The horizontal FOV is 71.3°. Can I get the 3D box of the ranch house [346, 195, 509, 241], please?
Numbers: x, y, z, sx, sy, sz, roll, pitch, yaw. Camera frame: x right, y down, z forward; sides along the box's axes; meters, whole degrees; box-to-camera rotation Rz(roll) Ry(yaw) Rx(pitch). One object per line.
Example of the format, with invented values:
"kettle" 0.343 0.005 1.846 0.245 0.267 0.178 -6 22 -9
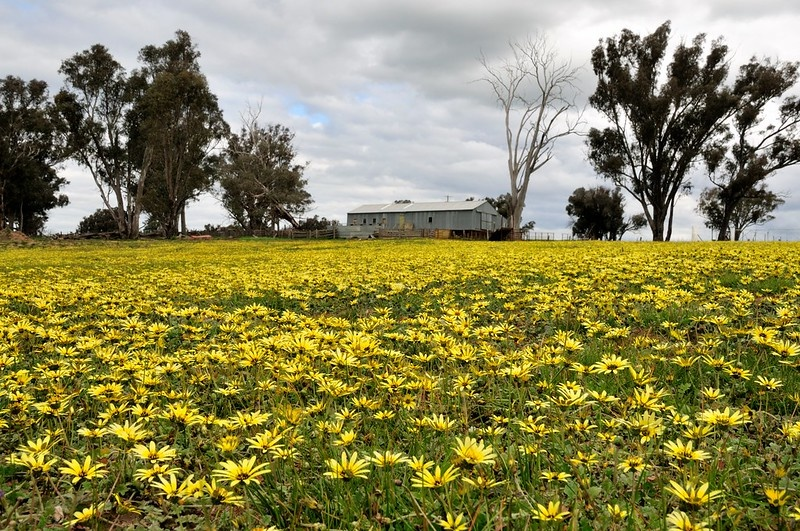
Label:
"ranch house" 2.561 -4.958 59.995 17.710 4.123 15.455 0 6 -5
